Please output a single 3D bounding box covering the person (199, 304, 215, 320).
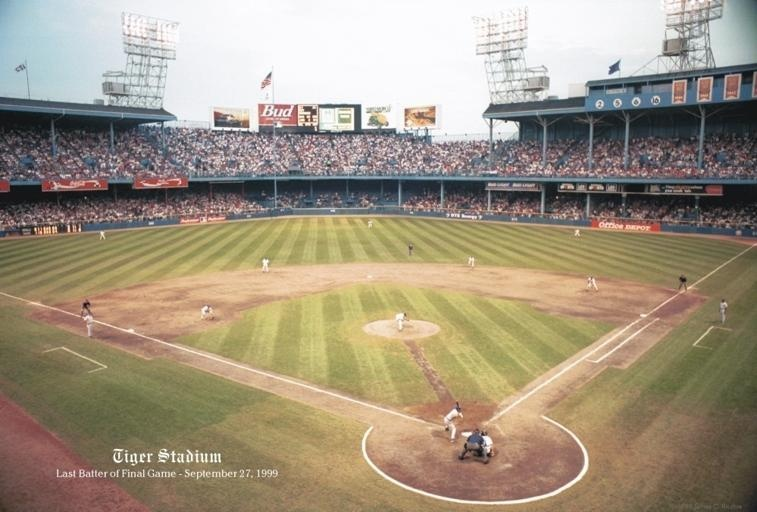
[{"bbox_3d":[-12.285,4.031,45.879,1.101,1.031,1.022,-5,6,23],"label":"person"}]

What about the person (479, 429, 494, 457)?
[{"bbox_3d":[5.679,9.688,32.959,0.511,1.074,0.835,-10,10,-22],"label":"person"}]

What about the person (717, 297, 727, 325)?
[{"bbox_3d":[24.349,3.828,45.429,0.483,1.408,2.123,4,12,28],"label":"person"}]

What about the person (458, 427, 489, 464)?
[{"bbox_3d":[4.914,9.719,32.821,1.461,1.387,0.715,0,11,6],"label":"person"}]
